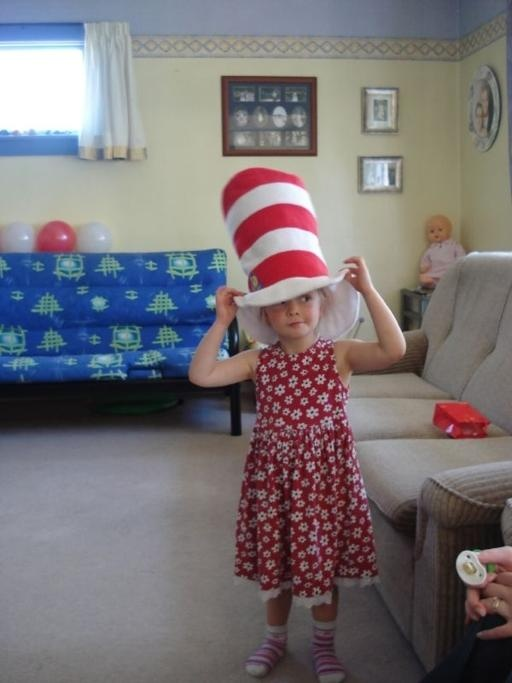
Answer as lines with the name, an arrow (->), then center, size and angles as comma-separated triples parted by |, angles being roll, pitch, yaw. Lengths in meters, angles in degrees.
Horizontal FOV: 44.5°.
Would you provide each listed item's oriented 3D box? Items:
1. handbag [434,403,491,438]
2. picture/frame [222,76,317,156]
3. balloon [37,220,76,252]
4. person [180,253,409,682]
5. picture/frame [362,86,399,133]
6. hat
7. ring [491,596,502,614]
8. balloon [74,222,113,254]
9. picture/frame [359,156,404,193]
handbag -> 0.625, 0.211, 1.866 | 0.104, 0.064, 0.139 | 4, 3, -3
picture/frame -> 0.058, -1.435, 3.908 | 0.559, 0.384, 0.046 | -1, 12, 0
balloon -> -1.205, -0.633, 3.760 | 0.160, 0.151, 0.168 | -12, 52, 16
person -> 0.094, 0.290, 1.449 | 0.343, 0.959, 0.357 | -11, 14, -37
picture/frame -> 0.775, -1.486, 3.961 | 0.332, 0.328, 0.036 | -1, 4, -6
hat -> 0.053, -0.176, 1.359 | 0.315, 0.411, 0.247 | 1, 11, 15
ring -> 0.386, 0.424, 1.012 | 0.012, 0.017, 0.014 | -8, 3, -3
balloon -> -0.976, -0.631, 3.783 | 0.215, 0.216, 0.201 | 0, 11, 3
picture/frame -> 0.791, -1.088, 4.031 | 0.269, 0.193, 0.019 | -1, 6, -5
